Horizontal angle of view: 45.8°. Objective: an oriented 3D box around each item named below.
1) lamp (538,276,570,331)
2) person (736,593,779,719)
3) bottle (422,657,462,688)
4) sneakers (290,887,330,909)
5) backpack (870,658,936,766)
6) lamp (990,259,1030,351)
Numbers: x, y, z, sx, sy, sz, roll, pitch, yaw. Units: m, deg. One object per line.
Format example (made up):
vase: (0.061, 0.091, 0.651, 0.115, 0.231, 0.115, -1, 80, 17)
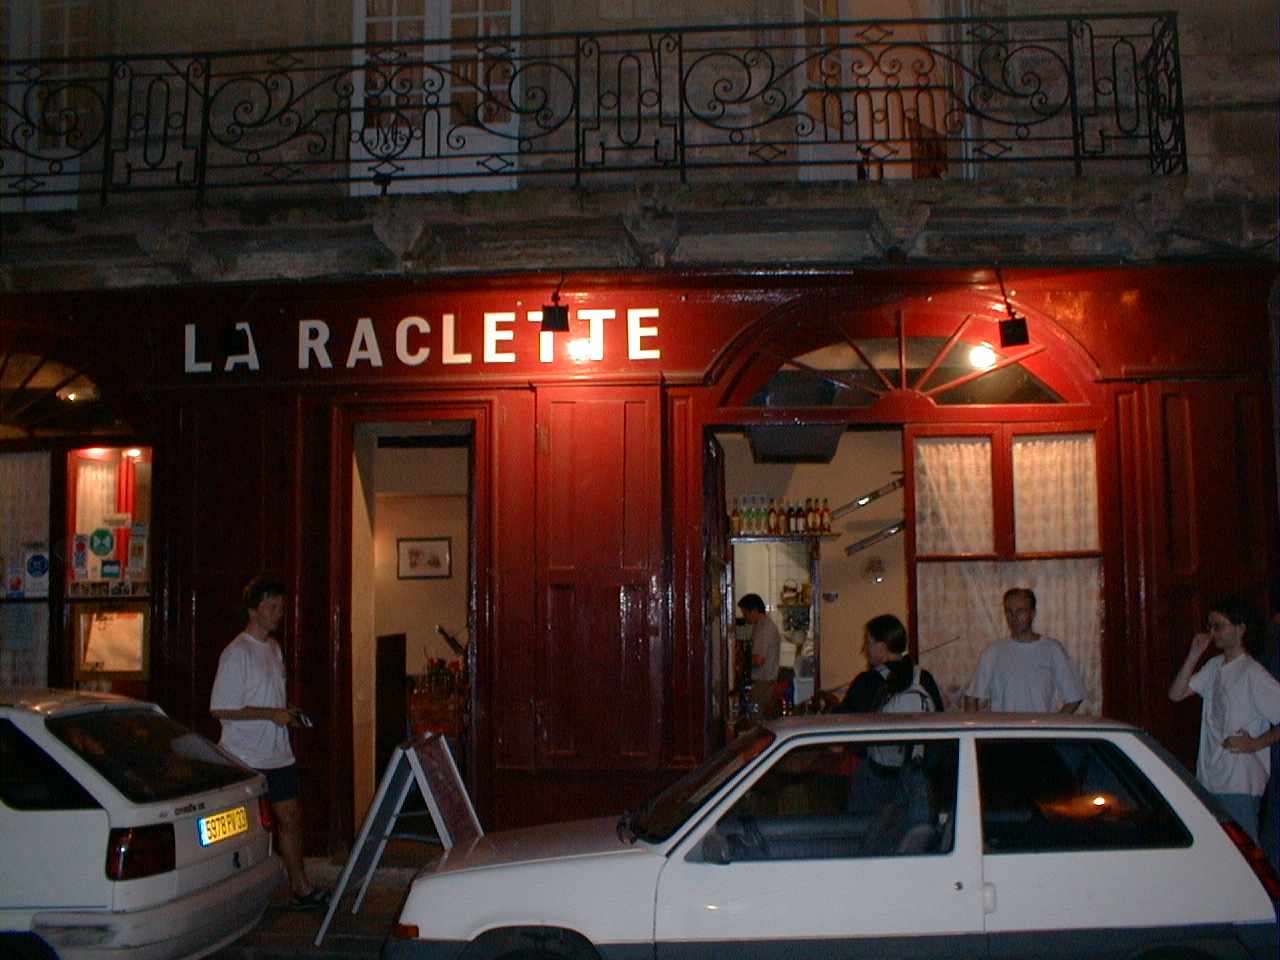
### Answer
lamp: (-0.680, -1.403, 12.129, 0.208, 0.430, 0.423, -1, -3, -2)
person: (1.220, 1.782, 15.548, 0.404, 1.222, 0.665, -1, -4, 4)
bottle: (-1.865, 1.846, 14.332, 0.253, 0.308, 0.276, 0, 1, 1)
sneakers: (-2.392, 3.036, 10.991, 0.247, 0.125, 0.096, 2, -4, -24)
backpack: (1.706, 1.491, 9.968, 0.305, 0.512, 0.458, 6, -28, 18)
lamp: (2.958, -1.394, 12.071, 0.258, 0.661, 0.516, -2, -3, 15)
